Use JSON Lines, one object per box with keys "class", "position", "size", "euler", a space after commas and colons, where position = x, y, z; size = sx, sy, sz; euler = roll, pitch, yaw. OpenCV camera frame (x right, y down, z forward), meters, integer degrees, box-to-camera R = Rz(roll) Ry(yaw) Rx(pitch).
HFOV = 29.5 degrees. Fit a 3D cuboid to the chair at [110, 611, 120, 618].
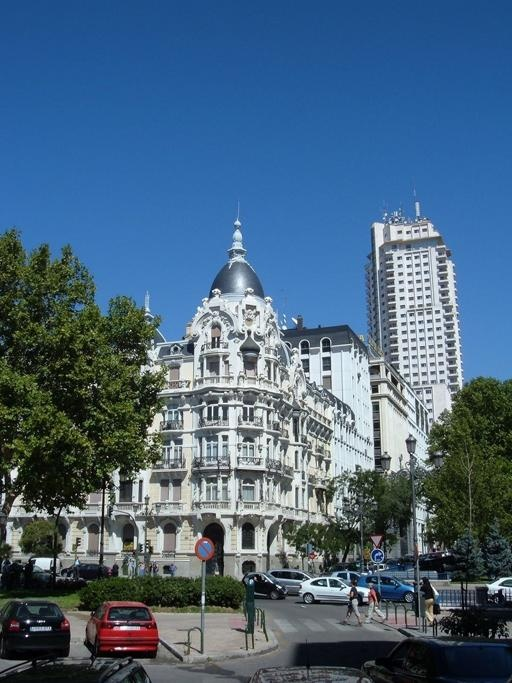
{"class": "chair", "position": [-3.273, 6.371, 22.685], "size": [0.176, 0.130, 0.242], "euler": [10, -14, -14]}
